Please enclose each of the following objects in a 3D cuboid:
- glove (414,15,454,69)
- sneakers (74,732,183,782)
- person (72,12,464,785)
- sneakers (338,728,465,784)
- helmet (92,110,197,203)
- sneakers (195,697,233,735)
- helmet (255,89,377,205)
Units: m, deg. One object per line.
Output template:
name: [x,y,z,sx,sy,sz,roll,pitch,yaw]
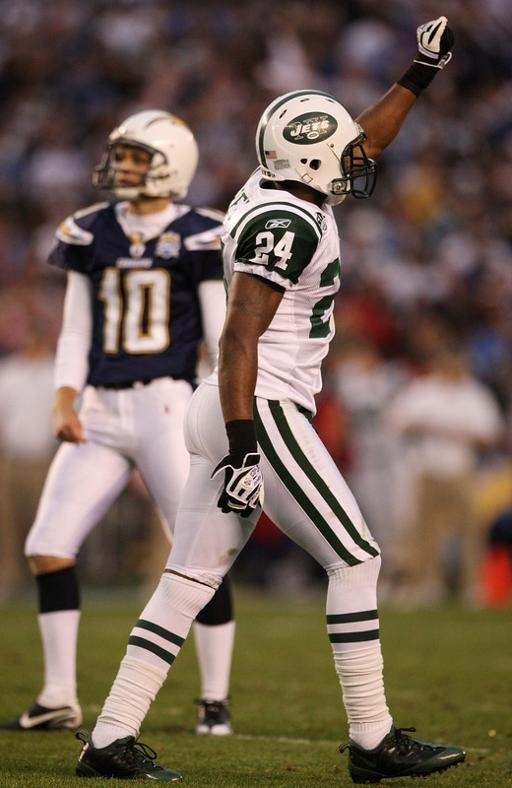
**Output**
glove: [0.503,-1.004,2.607,0.152,0.142,0.068,-1,15,-16]
sneakers: [-0.276,0.763,1.912,0.289,0.095,0.087,4,-8,1]
person: [0.106,-0.016,2.093,0.919,1.781,0.508,3,-10,-33]
sneakers: [0.302,0.770,1.949,0.296,0.109,0.102,-7,-21,-4]
helmet: [-0.393,-0.829,3.117,0.403,0.271,0.282,-9,19,-38]
sneakers: [-0.136,0.990,2.727,0.065,0.060,0.170,1,-10,0]
helmet: [0.135,-0.589,2.166,0.325,0.234,0.204,-7,23,-21]
